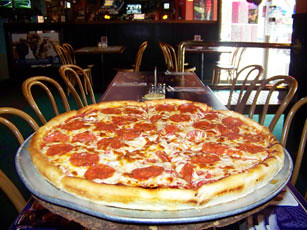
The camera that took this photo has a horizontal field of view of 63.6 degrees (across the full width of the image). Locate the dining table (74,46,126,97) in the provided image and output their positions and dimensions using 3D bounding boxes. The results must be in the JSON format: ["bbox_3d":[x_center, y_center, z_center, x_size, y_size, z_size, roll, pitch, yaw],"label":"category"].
[{"bbox_3d":[-0.999,-0.893,5.275,1.048,0.985,1.036,0,22,1],"label":"dining table"}]

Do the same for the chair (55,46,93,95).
[{"bbox_3d":[-1.687,-1.024,5.599,0.611,0.943,0.531,-10,0,-7],"label":"chair"}]

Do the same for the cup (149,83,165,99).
[{"bbox_3d":[0.024,-0.172,1.658,0.107,0.100,0.106,1,15,0],"label":"cup"}]
